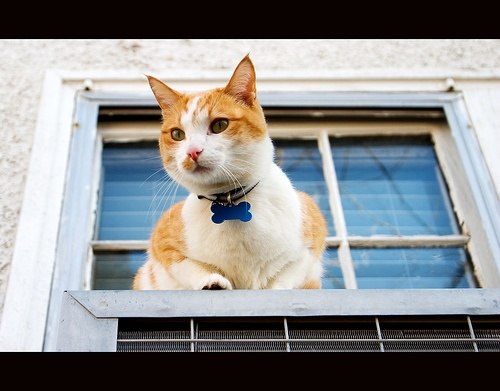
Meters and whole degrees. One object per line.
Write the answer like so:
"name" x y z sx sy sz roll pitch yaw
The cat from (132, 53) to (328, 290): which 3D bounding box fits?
"cat" -0.065 0.005 2.494 0.723 0.787 0.811 -3 -27 4
